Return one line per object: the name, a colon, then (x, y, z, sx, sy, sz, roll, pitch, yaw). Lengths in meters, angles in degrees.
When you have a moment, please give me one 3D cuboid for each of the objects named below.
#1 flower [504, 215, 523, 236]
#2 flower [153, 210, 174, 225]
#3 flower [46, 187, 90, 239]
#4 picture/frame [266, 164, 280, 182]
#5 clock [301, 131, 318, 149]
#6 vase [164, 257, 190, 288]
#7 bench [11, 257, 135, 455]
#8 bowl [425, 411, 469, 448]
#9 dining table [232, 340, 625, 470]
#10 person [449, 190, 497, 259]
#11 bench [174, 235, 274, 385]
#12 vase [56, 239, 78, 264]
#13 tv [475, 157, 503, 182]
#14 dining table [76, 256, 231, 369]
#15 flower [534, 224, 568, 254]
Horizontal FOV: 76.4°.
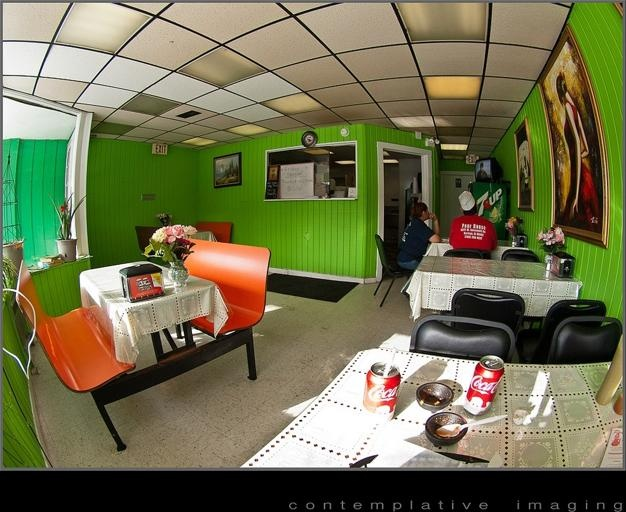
flower: (2.477, -0.402, 4.968, 0.256, 0.246, 0.117, 14, 12, -44)
flower: (-2.688, -0.690, 7.152, 0.335, 0.264, 0.268, -1, -5, -6)
flower: (-2.861, -0.465, 4.521, 0.494, 0.645, 0.548, 1, 0, 39)
picture/frame: (-0.685, -1.436, 6.811, 0.306, 0.291, 0.052, 9, 11, 33)
clock: (-0.049, -1.813, 6.138, 0.294, 0.282, 0.106, -1, 1, 31)
vase: (-0.949, 0.100, 2.777, 0.192, 0.237, 0.187, 0, -2, -1)
bench: (-1.509, 0.649, 2.512, 0.331, 0.620, 0.994, -29, 30, -21)
bowl: (0.481, 0.624, 1.447, 0.141, 0.074, 0.126, 3, 12, 19)
dining table: (0.537, 0.590, 1.598, 1.437, 0.170, 0.550, -1, 11, 1)
person: (1.859, -0.398, 4.577, 0.477, 0.649, 1.663, 4, 13, 24)
bench: (-1.070, 0.425, 3.465, 0.649, 1.081, 1.500, -3, 10, -44)
vase: (-2.578, -0.073, 4.275, 0.211, 0.221, 0.219, 0, 0, 27)
tv: (2.945, -1.475, 6.794, 0.513, 0.375, 0.498, 9, 16, 42)
dining table: (-1.290, 0.336, 2.834, 0.632, 0.279, 1.067, -10, 11, -40)
flower: (1.942, -0.146, 3.246, 0.207, 0.226, 0.232, 8, -5, -31)
